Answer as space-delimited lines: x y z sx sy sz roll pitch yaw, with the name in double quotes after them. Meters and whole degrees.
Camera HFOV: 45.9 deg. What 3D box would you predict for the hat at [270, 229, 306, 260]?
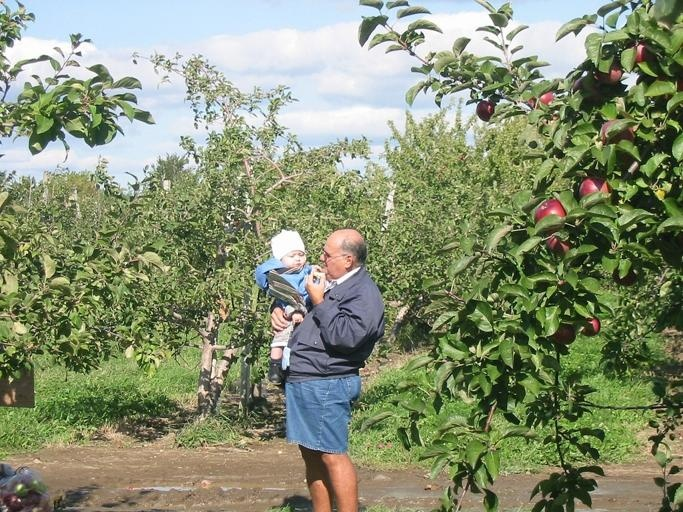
-0.445 -0.101 6.259 0.227 0.191 0.236 -13 -20 -34 "hat"
